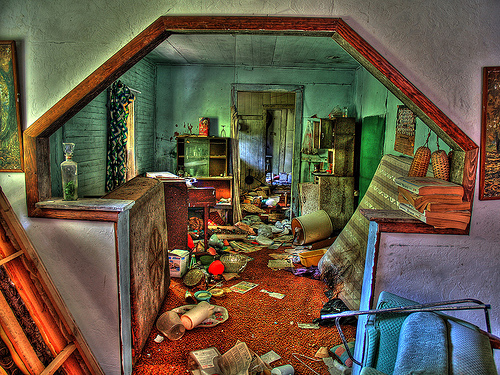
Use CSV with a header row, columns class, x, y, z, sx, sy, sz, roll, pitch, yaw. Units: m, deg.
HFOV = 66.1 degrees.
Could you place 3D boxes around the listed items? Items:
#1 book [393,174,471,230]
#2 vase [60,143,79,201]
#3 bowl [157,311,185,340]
class,x,y,z,sx,sy,sz,roll,pitch,yaw
book,1.765,0.122,3.679,0.474,0.318,0.643,-2,9,0
vase,-1.777,-0.154,3.756,0.150,0.566,0.236,-4,15,-26
bowl,-0.913,1.639,4.383,0.199,0.234,0.215,-9,42,8
